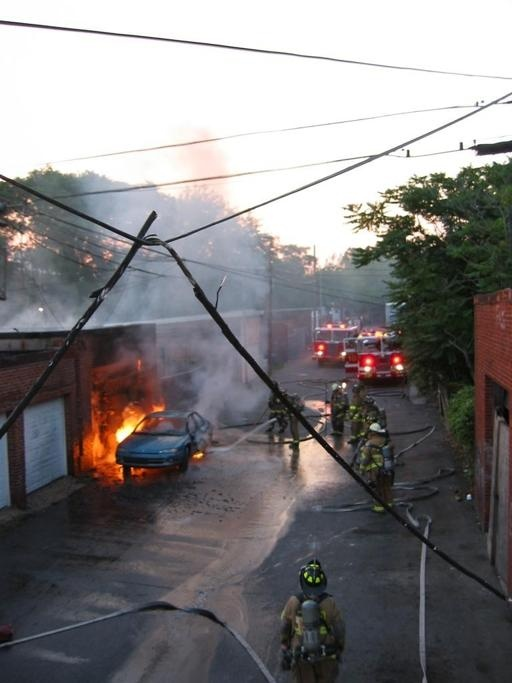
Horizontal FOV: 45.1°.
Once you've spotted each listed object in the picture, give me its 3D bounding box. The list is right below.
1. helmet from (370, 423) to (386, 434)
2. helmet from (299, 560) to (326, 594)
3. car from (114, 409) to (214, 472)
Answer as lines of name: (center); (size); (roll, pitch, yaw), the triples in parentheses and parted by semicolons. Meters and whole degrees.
helmet: (1.840, 1.291, 9.251); (0.235, 0.140, 0.269); (-6, 0, -3)
helmet: (0.380, 1.561, 4.093); (0.151, 0.210, 0.251); (-6, 0, 0)
car: (-1.701, 1.930, 12.071); (0.842, 0.637, 1.852); (0, -2, 11)
